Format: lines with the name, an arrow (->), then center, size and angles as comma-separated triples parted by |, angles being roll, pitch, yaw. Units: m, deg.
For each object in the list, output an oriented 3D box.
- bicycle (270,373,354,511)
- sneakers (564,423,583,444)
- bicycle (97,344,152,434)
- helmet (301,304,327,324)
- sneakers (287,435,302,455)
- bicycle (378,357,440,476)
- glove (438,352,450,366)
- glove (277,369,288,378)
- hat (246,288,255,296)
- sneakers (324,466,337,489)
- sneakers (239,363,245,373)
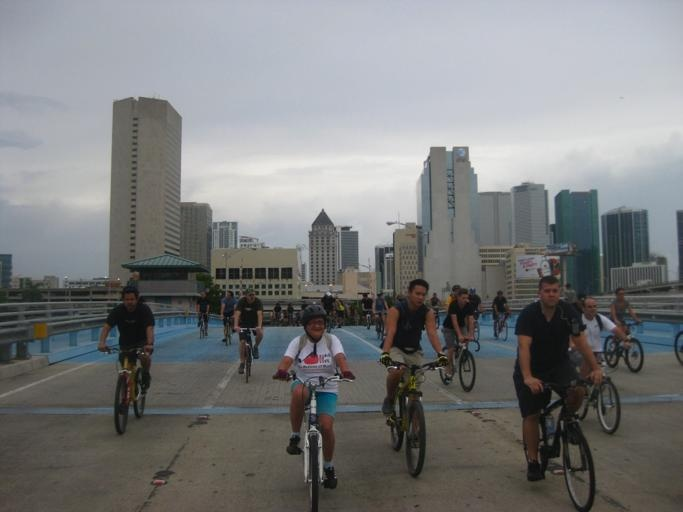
bicycle -> -0.291, 2.160, 7.707 | 0.629, 1.598, 1.199 | -2, 0, -1
sneakers -> 2.707, 2.041, 7.642 | 0.083, 0.237, 0.230 | 10, -10, 43
bicycle -> -3.422, 2.071, 10.715 | 0.893, 1.255, 1.981 | 1, -3, -6
helmet -> -0.352, 0.688, 8.184 | 0.205, 0.295, 0.210 | 3, 20, -12
sneakers -> -0.552, 2.233, 7.882 | 0.119, 0.142, 0.306 | 1, -5, 3
bicycle -> 0.909, 2.116, 8.969 | 0.571, 1.530, 1.431 | -2, 0, -1
glove -> 1.367, 1.376, 8.824 | 0.143, 0.122, 0.201 | 3, -3, -1
glove -> -0.688, 1.381, 7.745 | 0.102, 0.028, 0.108 | -6, 23, 9
hat -> -2.017, 0.791, 14.712 | 0.198, 0.163, 0.162 | -2, 6, -17
sneakers -> -0.129, 2.623, 7.750 | 0.104, 0.140, 0.303 | -1, -27, -1
sneakers -> -2.187, 2.452, 14.497 | 0.121, 0.236, 0.247 | -2, 0, -15
